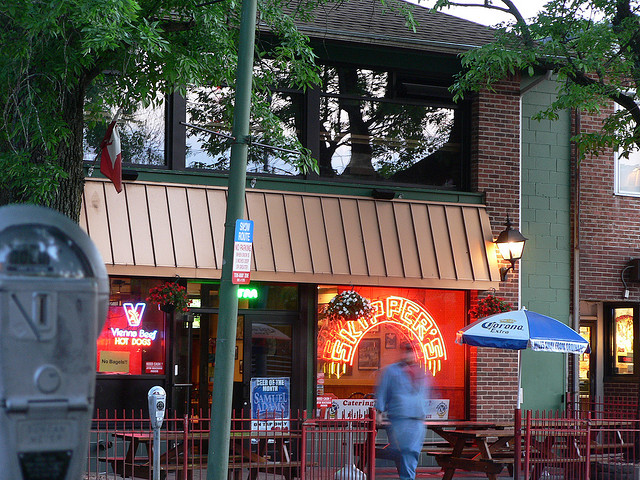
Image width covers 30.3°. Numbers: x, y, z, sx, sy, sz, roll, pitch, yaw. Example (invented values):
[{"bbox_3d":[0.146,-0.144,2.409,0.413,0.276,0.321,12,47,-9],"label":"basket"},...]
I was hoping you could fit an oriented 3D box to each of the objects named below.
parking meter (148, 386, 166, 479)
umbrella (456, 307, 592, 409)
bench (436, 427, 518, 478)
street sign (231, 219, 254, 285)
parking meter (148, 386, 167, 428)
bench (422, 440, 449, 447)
[{"bbox_3d":[-2.142,2.537,15.589,0.195,1.201,0.306,0,-7,-7],"label":"parking meter"},{"bbox_3d":[3.096,1.743,18.432,1.623,1.147,1.591,3,-11,3],"label":"umbrella"},{"bbox_3d":[2.350,3.243,18.242,1.076,0.524,1.007,6,-8,-42],"label":"bench"},{"bbox_3d":[-0.960,0.156,15.325,0.246,0.839,0.378,-4,-7,25],"label":"street sign"},{"bbox_3d":[-2.149,2.206,15.639,0.198,0.533,0.333,0,-7,-8],"label":"parking meter"},{"bbox_3d":[1.925,3.326,19.233,0.304,0.076,0.324,0,-2,-18],"label":"bench"}]
